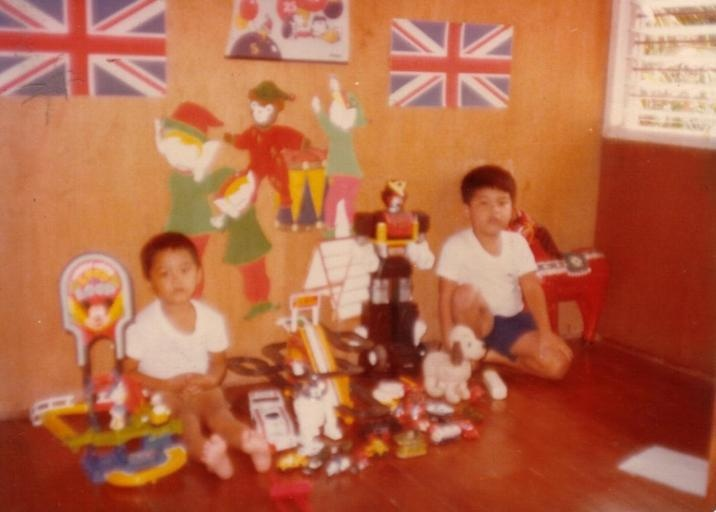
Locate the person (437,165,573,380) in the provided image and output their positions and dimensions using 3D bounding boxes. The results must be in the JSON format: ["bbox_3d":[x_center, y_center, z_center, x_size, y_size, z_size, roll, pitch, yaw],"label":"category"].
[{"bbox_3d":[0.881,0.082,3.601,0.789,1.196,0.775,8,23,27],"label":"person"}]

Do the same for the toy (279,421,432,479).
[{"bbox_3d":[-0.016,0.966,2.977,0.779,0.129,0.175,-4,10,-16],"label":"toy"}]

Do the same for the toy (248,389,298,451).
[{"bbox_3d":[-0.439,0.840,3.077,0.191,0.163,0.386,-2,21,-21],"label":"toy"}]

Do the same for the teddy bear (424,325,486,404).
[{"bbox_3d":[0.529,0.599,3.472,0.311,0.465,0.337,-7,16,-40],"label":"teddy bear"}]
